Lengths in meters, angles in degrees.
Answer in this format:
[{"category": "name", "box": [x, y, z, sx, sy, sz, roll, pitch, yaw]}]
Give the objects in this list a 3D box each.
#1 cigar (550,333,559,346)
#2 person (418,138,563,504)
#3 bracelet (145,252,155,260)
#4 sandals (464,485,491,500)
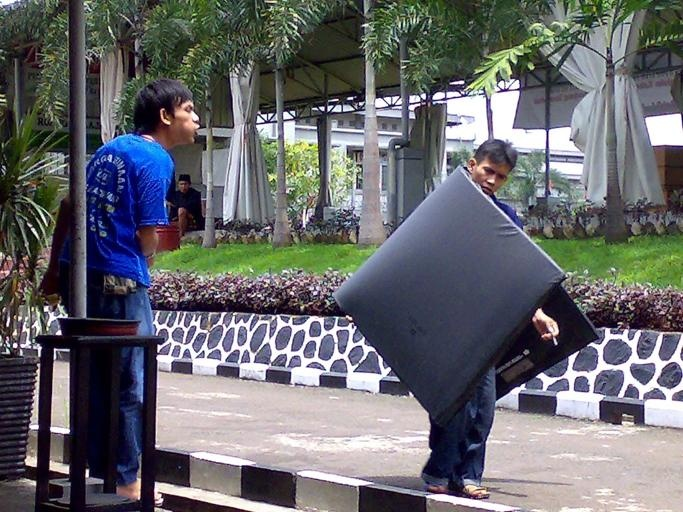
[{"category": "cigar", "box": [1.375, 0.539, 5.506, 0.028, 0.099, 0.022, -35, 45, -5]}, {"category": "person", "box": [0.929, 0.392, 5.500, 0.788, 2.343, 0.582, 0, 1, -14]}, {"category": "bracelet", "box": [-1.201, 0.000, 5.404, 0.031, 0.028, 0.034, 16, -2, 2]}, {"category": "sandals", "box": [0.858, 1.500, 5.431, 0.135, 0.056, 0.080, -1, 6, -29]}]
